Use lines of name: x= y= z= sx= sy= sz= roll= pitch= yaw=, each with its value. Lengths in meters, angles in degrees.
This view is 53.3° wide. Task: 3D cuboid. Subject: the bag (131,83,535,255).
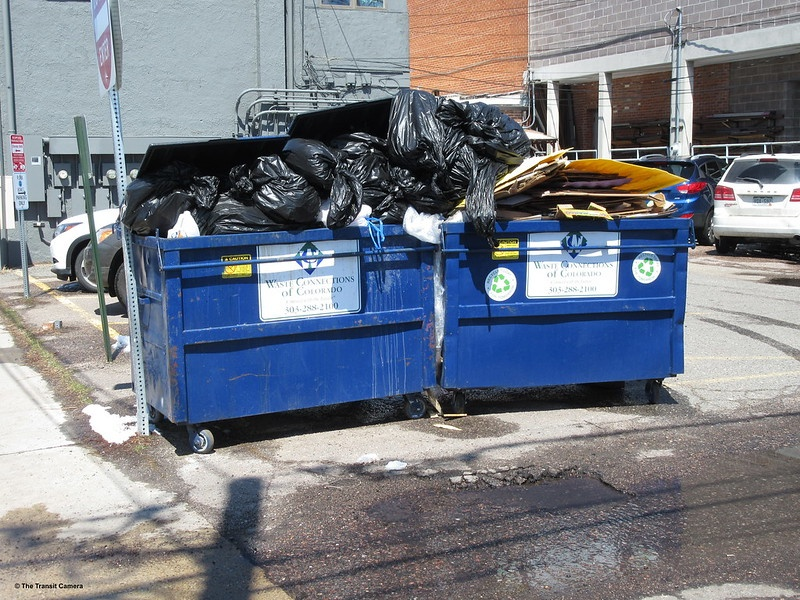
bag: x=-0.577 y=-1.050 z=6.663 sx=2.737 sy=1.010 sz=1.494 roll=-3 pitch=6 yaw=-20

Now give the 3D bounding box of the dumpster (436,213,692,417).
dumpster: x=1.315 y=-0.025 z=7.474 sx=2.495 sy=1.833 sz=1.579 roll=-1 pitch=2 yaw=-10

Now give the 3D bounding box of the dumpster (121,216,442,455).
dumpster: x=-1.140 y=0.153 z=6.972 sx=2.710 sy=1.913 sz=1.745 roll=-3 pitch=3 yaw=-28
